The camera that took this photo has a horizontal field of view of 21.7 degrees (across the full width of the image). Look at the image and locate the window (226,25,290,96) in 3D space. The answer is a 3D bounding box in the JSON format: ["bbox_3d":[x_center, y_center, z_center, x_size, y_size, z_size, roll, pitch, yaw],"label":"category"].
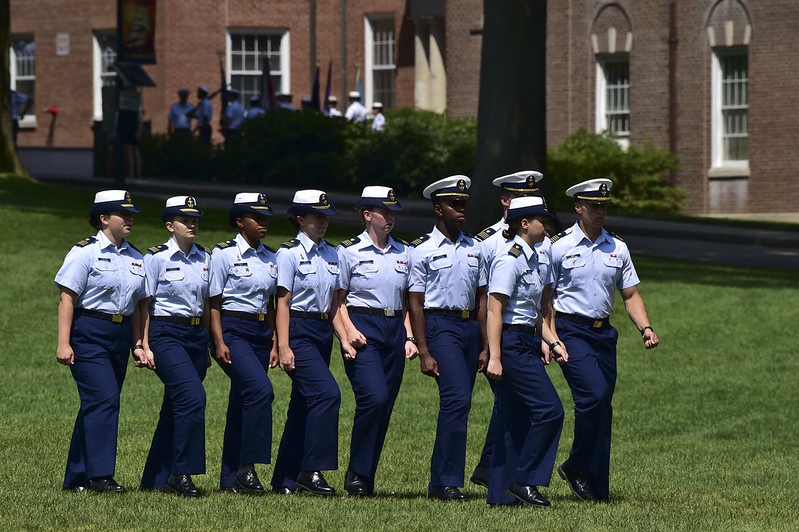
[{"bbox_3d":[-4.117,-5.886,59.912,1.637,0.155,1.856,-3,-36,-7],"label":"window"}]

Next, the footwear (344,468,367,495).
[{"bbox_3d":[-0.705,3.601,34.481,0.219,0.218,0.520,5,-4,-35],"label":"footwear"}]

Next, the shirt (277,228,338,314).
[{"bbox_3d":[-1.533,0.119,34.648,1.310,1.395,0.741,4,-10,-33],"label":"shirt"}]

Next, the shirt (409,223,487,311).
[{"bbox_3d":[0.845,0.013,34.871,1.437,1.373,0.780,-3,3,-24],"label":"shirt"}]

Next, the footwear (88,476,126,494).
[{"bbox_3d":[-4.813,3.588,34.177,0.648,0.258,0.236,2,-3,8],"label":"footwear"}]

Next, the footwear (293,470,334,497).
[{"bbox_3d":[-1.417,3.593,34.481,0.716,0.316,0.284,2,-3,19],"label":"footwear"}]

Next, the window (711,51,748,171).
[{"bbox_3d":[8.583,-4.108,53.407,0.846,2.826,0.253,-1,3,41],"label":"window"}]

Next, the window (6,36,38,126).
[{"bbox_3d":[-10.522,-5.389,58.727,0.903,1.615,0.157,-15,29,-40],"label":"window"}]

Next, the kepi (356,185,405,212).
[{"bbox_3d":[-0.335,-1.151,34.835,0.567,0.267,0.411,1,3,15],"label":"kepi"}]

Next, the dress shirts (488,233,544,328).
[{"bbox_3d":[1.991,0.184,34.679,0.802,1.477,1.544,2,6,30],"label":"dress shirts"}]

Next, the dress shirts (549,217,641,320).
[{"bbox_3d":[3.170,0.056,34.893,1.834,1.542,0.780,2,1,-11],"label":"dress shirts"}]

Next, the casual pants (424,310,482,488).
[{"bbox_3d":[0.835,2.195,34.523,0.853,2.858,0.565,1,3,1],"label":"casual pants"}]

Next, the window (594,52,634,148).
[{"bbox_3d":[5.590,-4.605,55.086,0.921,2.055,0.386,2,3,14],"label":"window"}]

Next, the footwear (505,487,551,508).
[{"bbox_3d":[2.100,3.722,34.228,0.719,0.308,0.276,11,5,2],"label":"footwear"}]

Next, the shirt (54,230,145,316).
[{"bbox_3d":[-5.033,0.145,35.062,1.525,1.196,0.691,10,-16,-32],"label":"shirt"}]

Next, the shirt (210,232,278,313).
[{"bbox_3d":[-2.586,0.141,34.698,1.180,1.068,0.604,8,-15,-29],"label":"shirt"}]

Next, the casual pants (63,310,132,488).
[{"bbox_3d":[-4.970,2.170,34.301,1.062,2.930,0.454,1,3,-8],"label":"casual pants"}]

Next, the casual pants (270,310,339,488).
[{"bbox_3d":[-1.531,2.270,34.582,1.070,2.890,0.544,1,3,0],"label":"casual pants"}]
